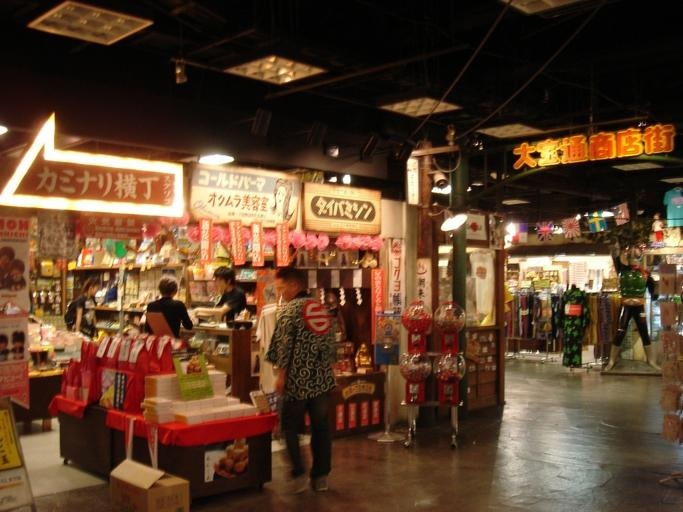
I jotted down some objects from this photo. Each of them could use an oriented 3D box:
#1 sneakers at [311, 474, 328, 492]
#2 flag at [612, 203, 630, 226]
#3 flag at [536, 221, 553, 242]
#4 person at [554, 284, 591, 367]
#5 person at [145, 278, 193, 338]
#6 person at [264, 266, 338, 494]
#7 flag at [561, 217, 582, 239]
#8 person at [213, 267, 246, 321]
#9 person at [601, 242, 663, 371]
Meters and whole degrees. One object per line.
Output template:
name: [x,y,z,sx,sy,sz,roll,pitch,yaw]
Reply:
sneakers: [-0.213,2.209,5.456,0.098,0.124,0.188,2,0,-1]
flag: [6.265,-0.957,12.555,0.297,0.511,0.889,-1,-3,24]
flag: [5.549,-0.660,15.523,0.601,0.539,0.158,1,-4,-20]
person: [5.367,1.595,12.780,0.602,1.871,0.393,0,-2,4]
person: [-2.015,0.605,6.654,0.529,0.715,0.453,1,-3,-24]
person: [-0.390,1.191,5.427,0.665,2.152,0.390,1,-2,-6]
flag: [6.182,-0.741,15.025,0.614,0.617,0.644,-4,-2,27]
person: [-1.466,0.487,7.303,0.404,0.695,0.385,0,-2,2]
person: [6.335,1.182,12.275,1.000,2.707,0.752,2,-3,-35]
